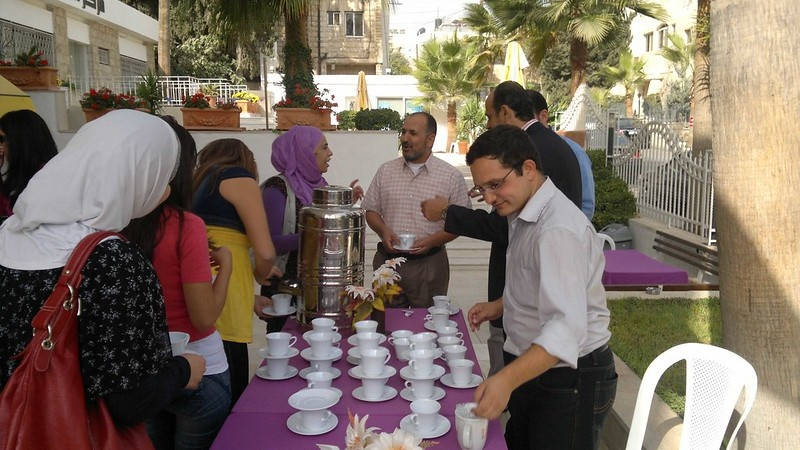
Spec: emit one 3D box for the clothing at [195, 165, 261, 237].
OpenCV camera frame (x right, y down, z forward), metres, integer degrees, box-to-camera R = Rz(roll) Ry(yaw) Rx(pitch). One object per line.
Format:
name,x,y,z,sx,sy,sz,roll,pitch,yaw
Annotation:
clothing,-1.294,-0.189,4.169,0.537,0.523,0.413,5,8,16

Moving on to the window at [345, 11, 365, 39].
window,-2.253,-10.160,27.847,1.301,1.500,0.102,0,20,4

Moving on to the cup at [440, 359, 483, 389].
cup,0.403,0.986,3.612,0.202,0.091,0.201,-2,3,0

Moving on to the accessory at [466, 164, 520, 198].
accessory,0.639,-0.254,3.517,0.192,0.057,0.184,-43,11,-29

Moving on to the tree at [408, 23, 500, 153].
tree,2.328,-5.593,24.978,3.090,4.333,2.988,-2,3,10

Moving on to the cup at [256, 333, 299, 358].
cup,-0.794,0.825,3.801,0.132,0.093,0.190,0,-3,23

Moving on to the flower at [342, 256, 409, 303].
flower,-0.169,0.431,4.168,0.432,0.313,0.215,-8,13,-40

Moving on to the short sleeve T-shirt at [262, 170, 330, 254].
short sleeve T-shirt,-0.902,-0.323,4.751,0.295,0.356,0.534,23,32,-2

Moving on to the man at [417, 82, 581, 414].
man,1.160,0.092,5.147,1.055,2.848,1.017,-24,28,-18

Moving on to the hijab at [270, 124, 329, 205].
hijab,-0.779,-0.606,5.318,0.649,0.885,0.711,0,10,8

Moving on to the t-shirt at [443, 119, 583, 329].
t-shirt,0.913,0.102,4.661,0.797,1.685,0.808,4,11,37
